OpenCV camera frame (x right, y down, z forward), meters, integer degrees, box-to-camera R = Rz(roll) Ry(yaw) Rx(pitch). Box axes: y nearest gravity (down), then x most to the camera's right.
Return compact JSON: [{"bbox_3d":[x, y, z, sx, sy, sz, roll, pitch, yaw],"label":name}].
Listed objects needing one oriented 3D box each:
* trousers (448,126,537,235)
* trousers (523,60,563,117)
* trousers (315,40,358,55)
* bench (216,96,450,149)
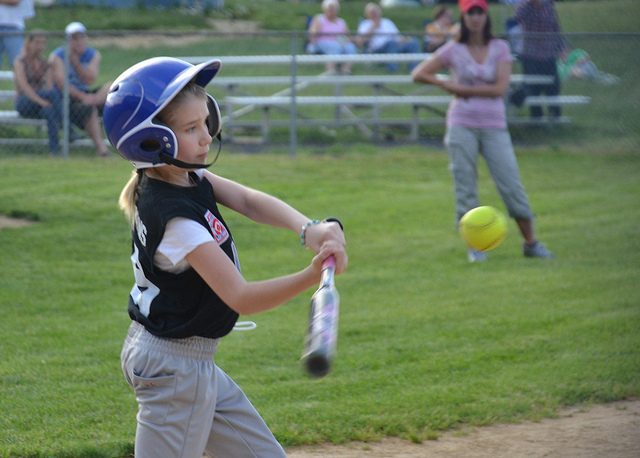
[{"bbox_3d":[1.687,-0.456,10.369,0.721,1.268,0.305,-23,-5,2],"label":"trousers"},{"bbox_3d":[2.340,-1.443,11.285,0.395,0.585,0.213,1,8,15],"label":"trousers"},{"bbox_3d":[0.236,-2.339,14.149,0.302,0.128,0.294,4,9,-9],"label":"trousers"},{"bbox_3d":[0.242,-1.234,12.846,2.328,0.534,0.907,-2,20,-19],"label":"bench"}]
